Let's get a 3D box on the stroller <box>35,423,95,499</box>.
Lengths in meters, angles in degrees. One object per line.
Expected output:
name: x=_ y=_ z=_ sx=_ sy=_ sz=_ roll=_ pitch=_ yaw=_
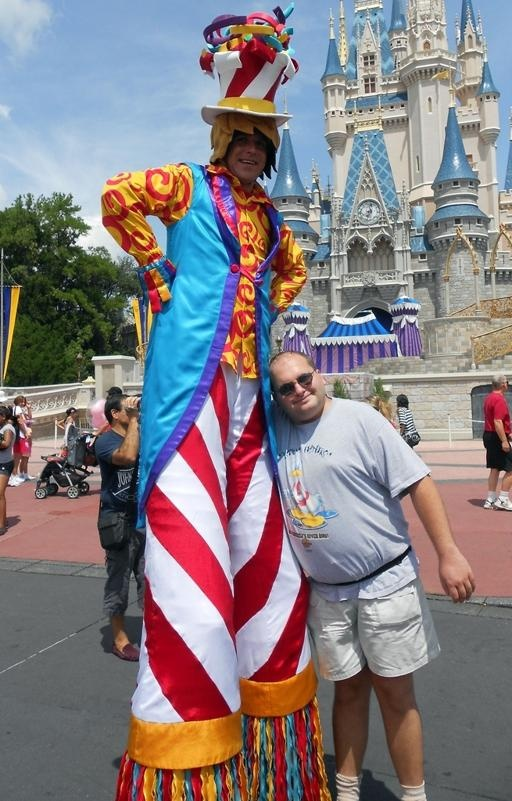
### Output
stroller: x=-2.514 y=0.851 z=10.766 sx=0.730 sy=0.820 sz=1.693 roll=0 pitch=0 yaw=-13

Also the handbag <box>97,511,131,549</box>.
handbag: x=-0.751 y=0.682 z=4.410 sx=0.167 sy=0.208 sz=0.107 roll=-13 pitch=-17 yaw=32

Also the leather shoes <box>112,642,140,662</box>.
leather shoes: x=-0.669 y=1.265 z=4.196 sx=0.070 sy=0.049 sz=0.134 roll=6 pitch=-8 yaw=-42
